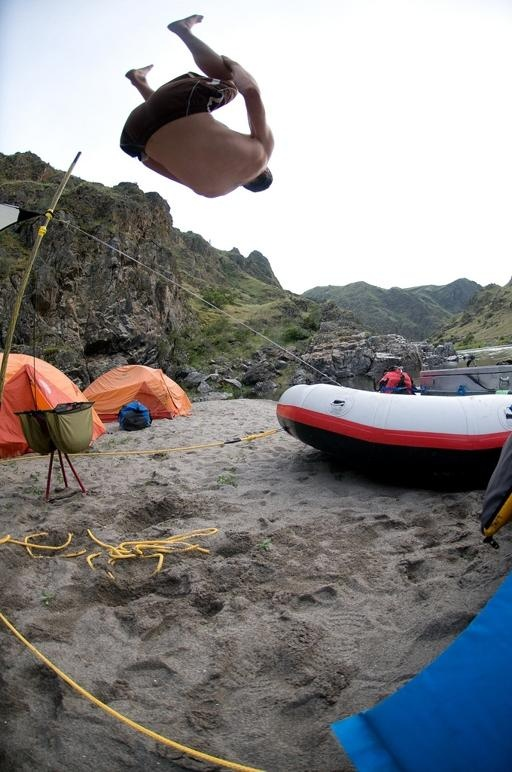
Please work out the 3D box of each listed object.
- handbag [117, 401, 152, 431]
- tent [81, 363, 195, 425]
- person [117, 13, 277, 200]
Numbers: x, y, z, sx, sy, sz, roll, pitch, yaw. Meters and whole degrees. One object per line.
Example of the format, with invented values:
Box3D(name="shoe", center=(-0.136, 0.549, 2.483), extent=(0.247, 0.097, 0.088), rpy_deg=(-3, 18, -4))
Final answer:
Box3D(name="handbag", center=(-2.487, 0.590, 10.430), extent=(0.539, 0.512, 0.540), rpy_deg=(-5, -1, 41))
Box3D(name="tent", center=(-2.709, 0.111, 11.560), extent=(1.666, 0.749, 1.656), rpy_deg=(2, 6, 1))
Box3D(name="person", center=(-0.255, -1.173, 2.203), extent=(0.649, 0.792, 0.538), rpy_deg=(9, -43, -7))
